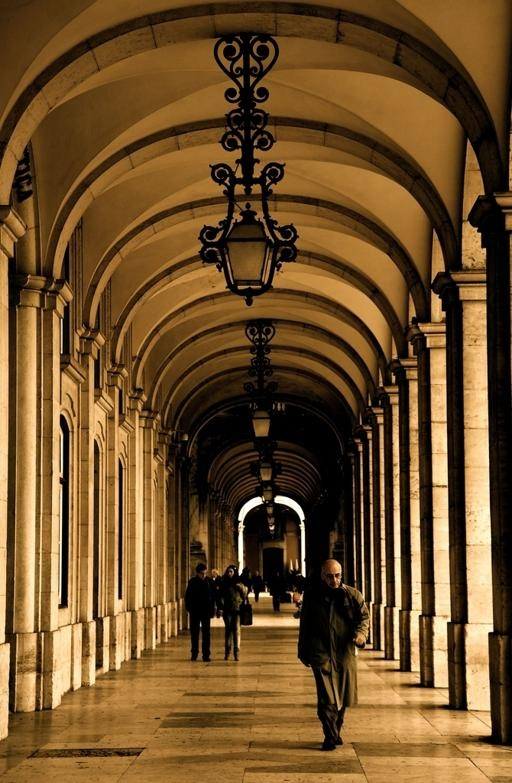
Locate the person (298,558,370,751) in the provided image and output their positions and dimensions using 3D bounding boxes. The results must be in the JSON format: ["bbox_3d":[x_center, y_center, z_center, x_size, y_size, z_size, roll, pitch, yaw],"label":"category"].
[{"bbox_3d":[0.620,2.125,9.130,0.516,1.444,0.655,8,-16,-30],"label":"person"}]

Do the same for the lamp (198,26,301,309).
[{"bbox_3d":[-0.071,-2.001,9.788,0.771,3.070,0.465,0,-30,-2],"label":"lamp"}]
